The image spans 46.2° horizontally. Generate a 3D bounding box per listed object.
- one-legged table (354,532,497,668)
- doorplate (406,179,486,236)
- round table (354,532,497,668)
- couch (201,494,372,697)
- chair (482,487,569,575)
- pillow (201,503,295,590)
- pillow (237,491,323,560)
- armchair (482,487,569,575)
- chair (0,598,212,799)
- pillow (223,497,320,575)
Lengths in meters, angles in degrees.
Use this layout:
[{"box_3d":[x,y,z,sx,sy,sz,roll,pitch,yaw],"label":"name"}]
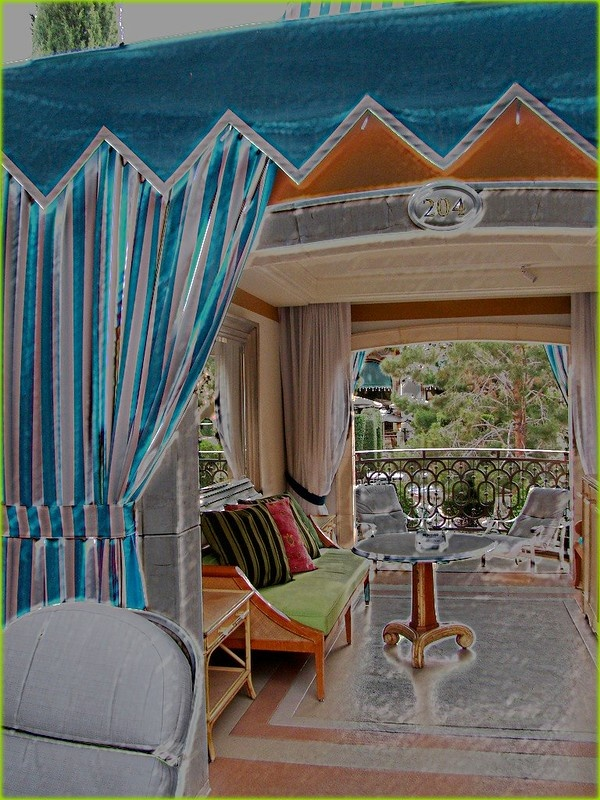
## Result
[{"box_3d":[0.753,1.228,4.316,0.791,0.633,0.819,-3,-5,26],"label":"one-legged table"},{"box_3d":[0.468,-0.616,2.224,0.164,0.131,0.007,1,12,15],"label":"doorplate"},{"box_3d":[0.726,1.123,4.408,0.727,0.581,0.758,-1,4,0],"label":"round table"},{"box_3d":[0.037,1.114,4.441,0.625,0.754,1.839,-3,0,13],"label":"couch"},{"box_3d":[2.079,1.177,6.472,0.755,0.739,1.118,-1,0,16],"label":"chair"},{"box_3d":[-0.313,0.870,4.162,0.278,0.482,0.573,-11,-11,36],"label":"pillow"},{"box_3d":[-0.139,0.964,5.010,0.134,0.452,0.467,-25,-14,11],"label":"pillow"},{"box_3d":[2.081,1.177,6.462,0.771,0.739,1.047,-1,0,9],"label":"armchair"},{"box_3d":[-0.545,0.765,1.798,0.536,0.458,0.339,-1,0,-1],"label":"chair"},{"box_3d":[-0.175,0.949,4.580,0.137,0.466,0.481,-30,-17,23],"label":"pillow"}]
